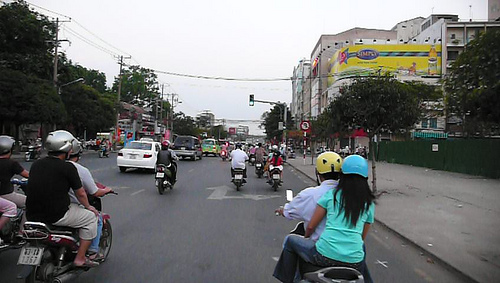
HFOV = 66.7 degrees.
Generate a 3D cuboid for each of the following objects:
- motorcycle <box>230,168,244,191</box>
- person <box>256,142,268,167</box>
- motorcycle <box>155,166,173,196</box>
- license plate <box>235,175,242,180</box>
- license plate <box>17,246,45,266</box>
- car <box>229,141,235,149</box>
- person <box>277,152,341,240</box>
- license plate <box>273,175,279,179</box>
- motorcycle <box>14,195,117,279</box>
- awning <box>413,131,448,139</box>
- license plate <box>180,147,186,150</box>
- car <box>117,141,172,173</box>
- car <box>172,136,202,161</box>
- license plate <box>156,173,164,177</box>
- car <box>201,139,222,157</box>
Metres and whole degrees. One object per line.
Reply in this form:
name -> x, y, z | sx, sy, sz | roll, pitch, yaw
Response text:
motorcycle -> -0.556, 1.759, 17.751 | 0.502, 1.027, 0.788 | 2, 0, 15
person -> 0.642, 0.716, 21.979 | 0.601, 1.374, 1.015 | 2, 0, -5
motorcycle -> -3.647, 1.680, 16.314 | 0.738, 1.165, 0.432 | 2, 0, -32
license plate -> -0.542, 1.627, 17.426 | 0.228, 0.154, 0.127 | 2, 4, 2
license plate -> -4.361, 2.340, 7.654 | 0.427, 0.363, 0.251 | 2, 0, -15
car -> -2.698, 0.617, 57.409 | 0.815, 0.992, 1.731 | 0, 9, 3
person -> 1.203, 1.400, 7.654 | 1.009, 1.854, 1.047 | -2, 41, 10
license plate -> 1.188, 1.675, 17.831 | 0.223, 0.160, 0.125 | 1, 4, -6
motorcycle -> -4.349, 2.307, 8.867 | 1.221, 1.839, 2.805 | 2, 0, 19
awning -> 27.198, -1.019, 58.133 | 4.736, 1.150, 2.272 | 2, 0, 26
license plate -> -6.226, 0.674, 35.286 | 0.325, 0.237, 0.184 | 2, 7, 3
car -> -6.772, 0.872, 25.346 | 2.352, 1.863, 5.545 | 4, 3, 1
car -> -5.910, 0.688, 37.348 | 2.052, 2.159, 5.101 | 2, 0, 9
license plate -> -3.763, 1.422, 16.062 | 0.188, 0.135, 0.045 | -1, -11, 3
car -> -5.001, 0.807, 48.956 | 1.875, 1.810, 3.580 | 0, 5, 5
